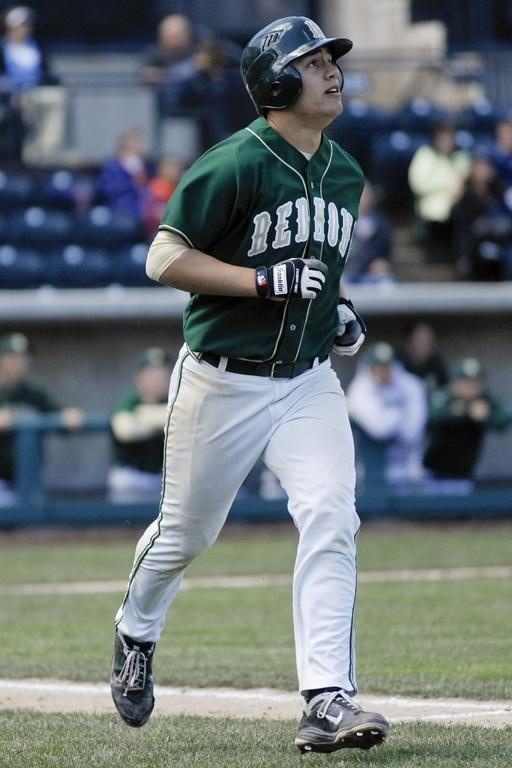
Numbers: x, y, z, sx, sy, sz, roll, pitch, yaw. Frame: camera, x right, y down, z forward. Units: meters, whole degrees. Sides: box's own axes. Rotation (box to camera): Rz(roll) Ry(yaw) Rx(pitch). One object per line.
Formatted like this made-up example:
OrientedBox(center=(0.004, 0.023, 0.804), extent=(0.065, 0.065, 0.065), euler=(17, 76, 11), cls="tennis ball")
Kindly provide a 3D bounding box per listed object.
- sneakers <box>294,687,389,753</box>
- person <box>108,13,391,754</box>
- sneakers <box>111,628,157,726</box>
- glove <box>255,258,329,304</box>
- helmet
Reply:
OrientedBox(center=(0.179, 0.760, 2.933), extent=(0.236, 0.121, 0.106), euler=(-16, -30, 29), cls="sneakers")
OrientedBox(center=(-0.044, 0.004, 3.153), extent=(0.612, 1.785, 0.780), euler=(2, 12, -1), cls="person")
OrientedBox(center=(-0.336, 0.746, 3.324), extent=(0.097, 0.249, 0.103), euler=(2, -31, -22), cls="sneakers")
OrientedBox(center=(0.091, -0.240, 3.015), extent=(0.191, 0.092, 0.088), euler=(-3, 13, -25), cls="glove")
OrientedBox(center=(0.075, -0.775, 3.279), extent=(0.315, 0.224, 0.225), euler=(-7, -2, 26), cls="helmet")
